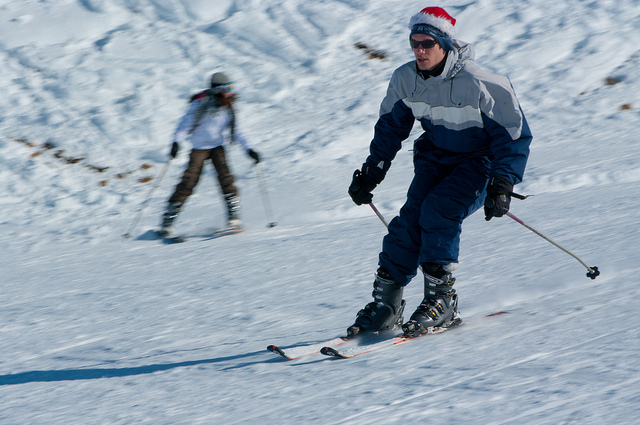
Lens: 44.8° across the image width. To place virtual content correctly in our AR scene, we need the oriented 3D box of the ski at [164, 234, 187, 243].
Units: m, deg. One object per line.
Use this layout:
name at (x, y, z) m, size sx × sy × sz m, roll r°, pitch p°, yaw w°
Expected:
ski at (-1.821, 0.318, 9.885) m, size 0.217 × 0.036 × 0.123 m, roll 5°, pitch 10°, yaw 20°

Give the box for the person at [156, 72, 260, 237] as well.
person at (-1.472, -0.738, 9.940) m, size 1.365 × 2.095 × 0.406 m, roll -3°, pitch 12°, yaw -7°

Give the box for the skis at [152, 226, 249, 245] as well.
skis at (-1.509, 0.298, 9.890) m, size 1.116 × 0.153 × 0.134 m, roll -4°, pitch 31°, yaw -4°

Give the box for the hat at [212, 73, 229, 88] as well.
hat at (-1.266, -1.676, 9.742) m, size 0.231 × 0.178 × 0.165 m, roll -5°, pitch 10°, yaw -21°

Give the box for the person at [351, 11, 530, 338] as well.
person at (0.992, -0.344, 6.603) m, size 1.513 × 2.737 × 0.704 m, roll 1°, pitch 12°, yaw 14°

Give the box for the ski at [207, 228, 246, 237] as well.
ski at (-1.257, 0.232, 9.993) m, size 0.584 × 0.043 × 0.124 m, roll -8°, pitch 2°, yaw -7°
